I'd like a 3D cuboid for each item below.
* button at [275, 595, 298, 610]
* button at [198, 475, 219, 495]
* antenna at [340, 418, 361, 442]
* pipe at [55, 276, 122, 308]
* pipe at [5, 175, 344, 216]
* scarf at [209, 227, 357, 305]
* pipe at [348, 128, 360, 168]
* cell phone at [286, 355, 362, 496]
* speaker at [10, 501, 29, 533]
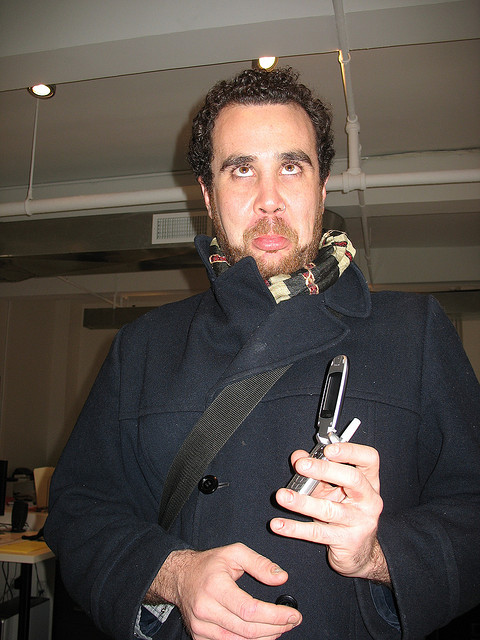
[{"bbox_3d":[0.066,0.404,0.820,0.027,0.022,0.048,-5,-13,14],"label":"button"},{"bbox_3d":[-0.052,0.260,0.912,0.025,0.027,0.025,5,-15,-28],"label":"button"},{"bbox_3d":[0.138,0.138,0.723,0.021,0.026,0.038,-3,-13,4],"label":"antenna"},{"bbox_3d":[-1.942,-0.374,7.260,0.137,0.158,1.686,-20,24,-33],"label":"pipe"},{"bbox_3d":[-0.900,-0.777,3.692,1.305,0.169,0.221,-2,-13,2],"label":"pipe"},{"bbox_3d":[0.082,-0.095,1.159,0.231,0.077,0.198,-17,-15,30],"label":"scarf"},{"bbox_3d":[0.642,-0.972,3.249,0.057,0.193,0.119,-4,-14,9],"label":"pipe"},{"bbox_3d":[0.109,0.134,0.751,0.101,0.185,0.147,2,-14,-15],"label":"cell phone"},{"bbox_3d":[-1.676,1.483,4.353,0.116,0.208,0.271,3,-14,-20],"label":"speaker"}]
